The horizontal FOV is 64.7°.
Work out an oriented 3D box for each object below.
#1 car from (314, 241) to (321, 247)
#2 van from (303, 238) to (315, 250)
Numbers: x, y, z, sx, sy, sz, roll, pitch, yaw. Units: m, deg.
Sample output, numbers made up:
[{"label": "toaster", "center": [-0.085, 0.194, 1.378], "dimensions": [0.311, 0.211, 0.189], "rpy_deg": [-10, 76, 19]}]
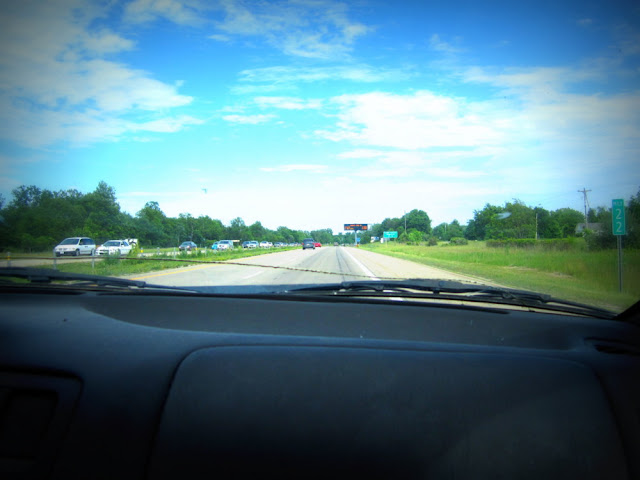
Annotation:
[{"label": "car", "center": [-0.392, 0.737, 89.636], "dimensions": [0.985, 1.104, 3.385], "rpy_deg": [-3, -7, 4]}, {"label": "van", "center": [-1.627, 0.534, 73.072], "dimensions": [1.453, 1.265, 2.269], "rpy_deg": [1, -2, 6]}]
